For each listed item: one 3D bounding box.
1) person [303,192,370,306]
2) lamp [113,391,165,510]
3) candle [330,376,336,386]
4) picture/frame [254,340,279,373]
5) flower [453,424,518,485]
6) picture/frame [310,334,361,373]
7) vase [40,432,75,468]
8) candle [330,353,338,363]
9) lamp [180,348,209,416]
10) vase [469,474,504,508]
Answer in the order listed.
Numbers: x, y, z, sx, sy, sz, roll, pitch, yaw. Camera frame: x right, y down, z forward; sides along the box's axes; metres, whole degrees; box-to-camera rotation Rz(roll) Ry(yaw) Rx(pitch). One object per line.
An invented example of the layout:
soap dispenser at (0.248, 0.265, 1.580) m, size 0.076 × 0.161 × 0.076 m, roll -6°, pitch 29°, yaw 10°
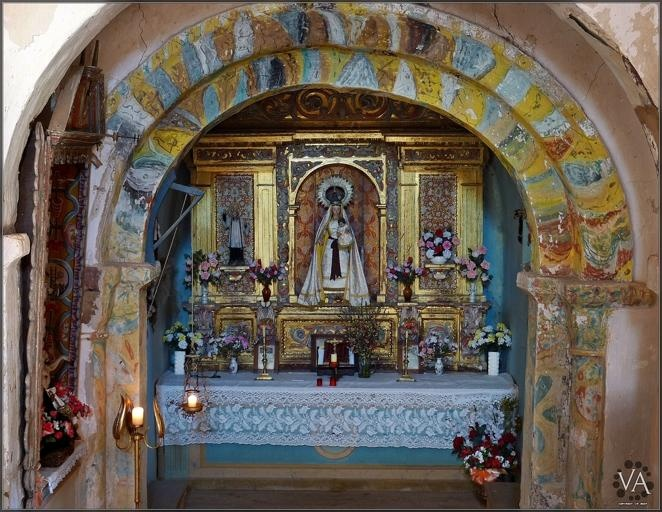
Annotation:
person at (0.044, -0.051, 11.289) m, size 0.800 × 1.183 × 0.244 m, roll 2°, pitch 6°, yaw 1°
lamp at (-1.747, 1.679, 9.192) m, size 0.441 × 1.117 × 1.749 m, roll 1°, pitch 6°, yaw -9°
candle at (0.012, 1.299, 10.679) m, size 0.068 × 0.082 × 0.062 m, roll 2°, pitch 9°, yaw 9°
picture/frame at (-0.716, 1.094, 11.136) m, size 0.330 × 0.473 × 0.044 m, roll 0°, pitch -8°, yaw -6°
flower at (1.611, 2.058, 10.663) m, size 0.612 × 0.571 × 0.638 m, roll 3°, pitch -29°, yaw 1°
picture/frame at (0.033, 1.057, 11.191) m, size 0.594 × 0.340 × 0.568 m, roll 2°, pitch 35°, yaw -2°
vase at (-2.281, 1.587, 8.455) m, size 0.247 × 0.164 × 0.506 m, roll 2°, pitch 6°, yaw -4°
candle at (0.022, 1.079, 10.887) m, size 0.081 × 0.132 × 0.082 m, roll 0°, pitch -9°, yaw -2°
lamp at (-1.428, 1.276, 10.587) m, size 0.258 × 0.653 × 0.268 m, roll 1°, pitch 1°, yaw -43°
vase at (1.611, 2.409, 10.520) m, size 0.348 × 0.433 × 0.175 m, roll 0°, pitch -5°, yaw 0°
